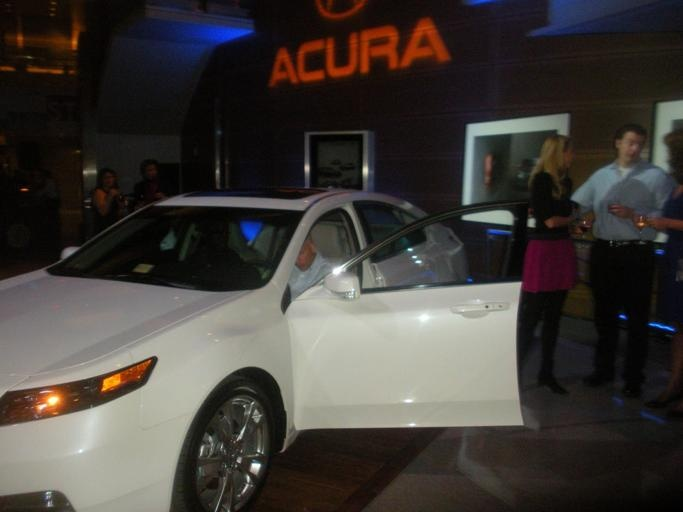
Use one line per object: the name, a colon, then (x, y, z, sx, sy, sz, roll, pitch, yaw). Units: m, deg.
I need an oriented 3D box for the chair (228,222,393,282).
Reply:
chair: (-0.319, -0.020, 3.831, 0.513, 0.391, 0.849, 13, 11, 37)

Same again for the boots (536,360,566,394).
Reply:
boots: (1.890, 1.078, 4.730, 0.108, 0.238, 0.301, -8, 18, -31)

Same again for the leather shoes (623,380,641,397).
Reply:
leather shoes: (2.531, 1.159, 4.688, 0.131, 0.119, 0.133, 1, 0, -22)
